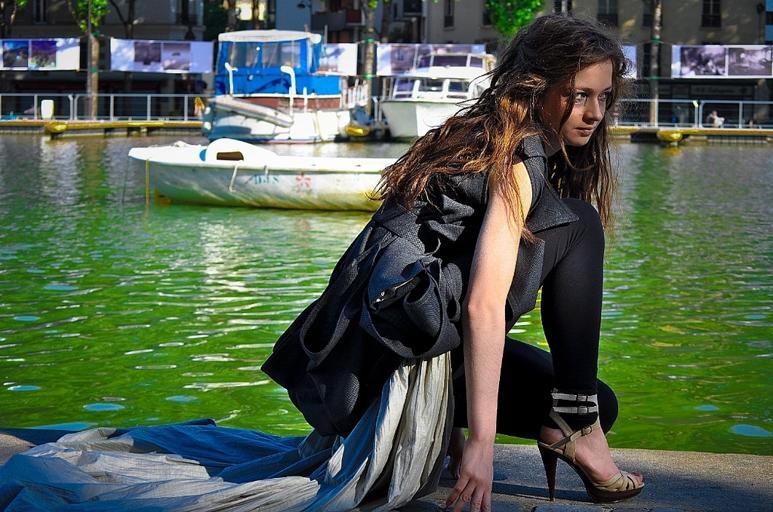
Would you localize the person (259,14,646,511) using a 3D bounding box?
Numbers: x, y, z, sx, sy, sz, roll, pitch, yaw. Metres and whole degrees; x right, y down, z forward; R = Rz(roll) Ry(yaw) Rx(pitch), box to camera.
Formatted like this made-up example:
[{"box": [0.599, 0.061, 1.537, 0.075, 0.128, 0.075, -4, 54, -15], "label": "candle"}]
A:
[{"box": [0.386, 0.034, 3.460, 1.407, 2.065, 0.647, -2, 7, -20], "label": "person"}]
